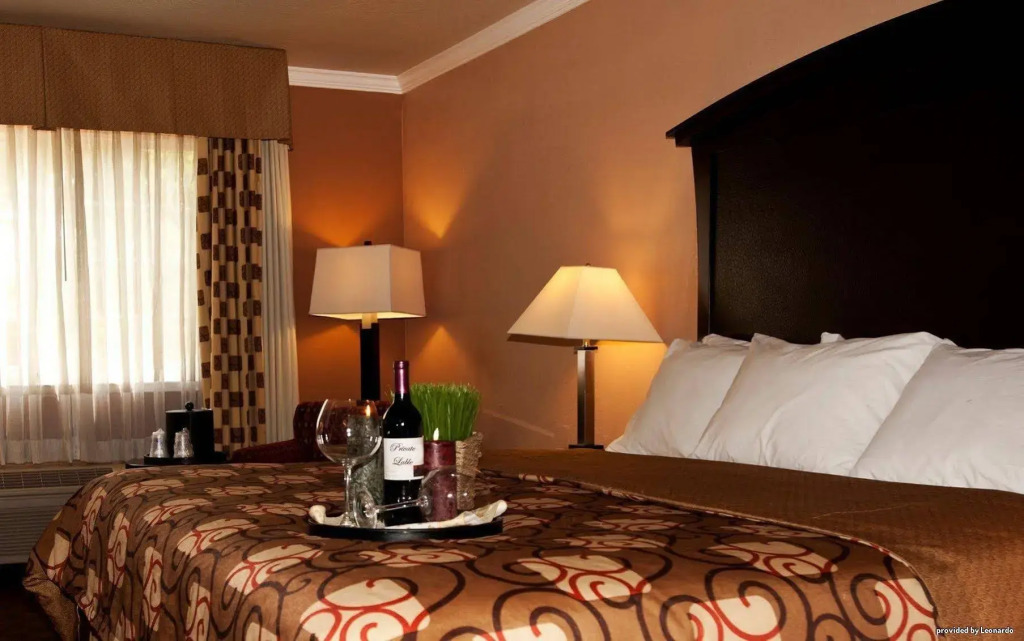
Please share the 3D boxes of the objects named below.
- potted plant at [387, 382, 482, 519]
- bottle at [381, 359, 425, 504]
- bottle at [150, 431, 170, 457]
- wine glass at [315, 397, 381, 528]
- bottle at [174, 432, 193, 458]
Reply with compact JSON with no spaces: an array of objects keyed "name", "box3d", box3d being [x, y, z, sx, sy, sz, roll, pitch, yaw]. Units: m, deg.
[{"name":"potted plant","box3d":[-0.172,0.370,1.998,0.318,0.443,0.306,0,-10,-5]},{"name":"bottle","box3d":[-0.302,0.301,1.943,0.117,0.388,0.170,-2,0,-8]},{"name":"bottle","box3d":[-2.237,0.784,4.462,0.097,0.180,0.099,-2,0,0]},{"name":"wine glass","box3d":[-0.444,0.384,1.948,0.154,0.339,0.323,-2,0,-30]},{"name":"bottle","box3d":[-2.064,0.779,4.421,0.110,0.191,0.051,-2,0,-29]}]
